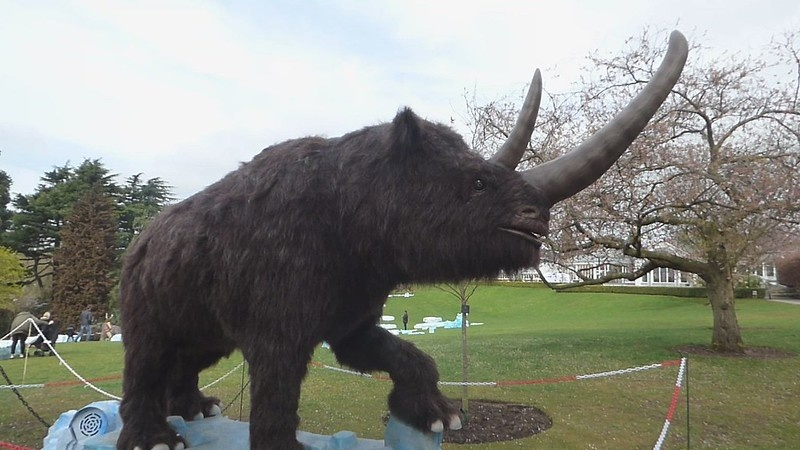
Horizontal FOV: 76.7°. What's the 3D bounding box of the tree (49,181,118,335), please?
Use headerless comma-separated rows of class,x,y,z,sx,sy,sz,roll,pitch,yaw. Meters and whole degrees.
tree,-23.598,2.095,37.837,3.780,10.897,2.036,-1,-13,-29

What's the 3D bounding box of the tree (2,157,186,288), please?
tree,-20.787,0.376,32.015,7.089,8.189,10.120,-18,-11,26
